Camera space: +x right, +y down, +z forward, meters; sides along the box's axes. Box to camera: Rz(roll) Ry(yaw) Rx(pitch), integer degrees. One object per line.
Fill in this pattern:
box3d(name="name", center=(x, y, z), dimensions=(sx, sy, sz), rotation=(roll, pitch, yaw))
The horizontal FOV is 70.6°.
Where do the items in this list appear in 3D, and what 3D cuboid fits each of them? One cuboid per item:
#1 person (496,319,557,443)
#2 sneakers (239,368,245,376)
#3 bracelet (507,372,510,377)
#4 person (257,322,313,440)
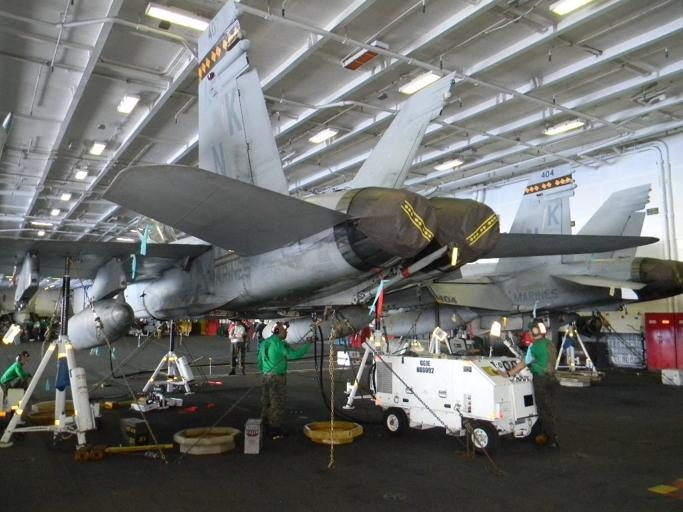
box3d(name="person", center=(3.222, 2.050, 7.814), dimensions=(0.883, 1.988, 0.449), rotation=(5, -12, -36))
box3d(name="sneakers", center=(-3.185, 3.725, 15.485), dimensions=(0.220, 0.269, 0.198), rotation=(3, -5, -20))
box3d(name="bracelet", center=(2.644, 1.845, 7.533), dimensions=(0.043, 0.066, 0.106), rotation=(-7, -10, 28))
box3d(name="person", center=(-1.014, 2.069, 8.071), dimensions=(0.517, 1.920, 1.119), rotation=(5, -12, -33))
